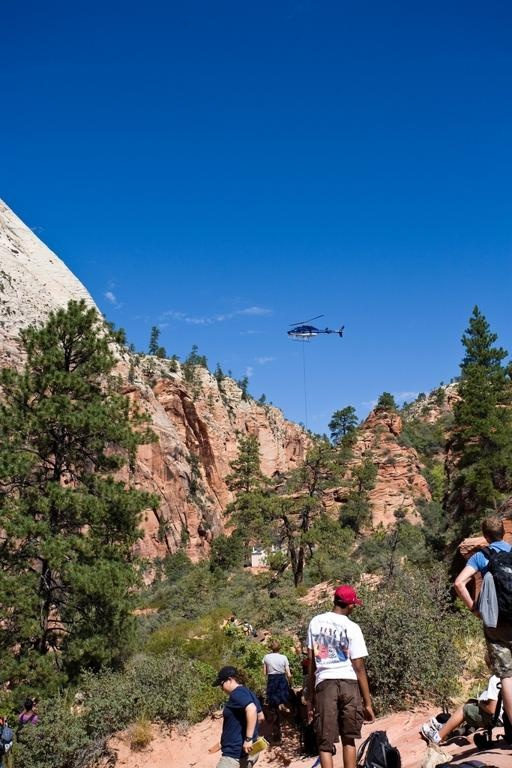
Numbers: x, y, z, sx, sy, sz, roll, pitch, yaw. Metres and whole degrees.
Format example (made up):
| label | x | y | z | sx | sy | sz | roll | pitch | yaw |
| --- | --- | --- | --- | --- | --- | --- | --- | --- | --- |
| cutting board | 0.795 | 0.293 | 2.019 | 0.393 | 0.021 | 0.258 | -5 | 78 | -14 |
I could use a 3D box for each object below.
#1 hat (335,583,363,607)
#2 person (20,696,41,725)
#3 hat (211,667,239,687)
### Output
| label | x | y | z | sx | sy | sz | roll | pitch | yaw |
| --- | --- | --- | --- | --- | --- | --- | --- | --- | --- |
| hat | 1.125 | 2.530 | 8.806 | 0.265 | 0.219 | 0.417 | 15 | 3 | 39 |
| person | -4.017 | 5.792 | 12.882 | 0.312 | 0.503 | 0.955 | 2 | -12 | -18 |
| hat | -0.364 | 3.632 | 9.107 | 0.408 | 0.214 | 0.283 | -9 | -27 | -1 |
